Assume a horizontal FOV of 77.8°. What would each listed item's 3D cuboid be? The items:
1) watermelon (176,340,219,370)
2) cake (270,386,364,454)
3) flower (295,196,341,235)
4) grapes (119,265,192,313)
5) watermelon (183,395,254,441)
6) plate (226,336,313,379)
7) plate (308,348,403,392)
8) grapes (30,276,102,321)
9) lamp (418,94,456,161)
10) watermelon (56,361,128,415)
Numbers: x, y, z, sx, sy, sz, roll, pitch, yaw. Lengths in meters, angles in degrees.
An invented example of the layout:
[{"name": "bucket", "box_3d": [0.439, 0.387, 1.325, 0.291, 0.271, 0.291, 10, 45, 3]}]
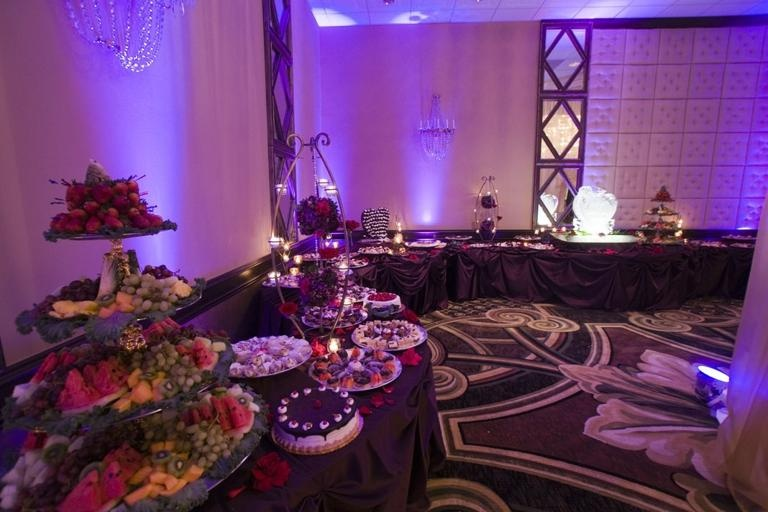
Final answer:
[{"name": "watermelon", "box_3d": [-0.984, 0.526, 2.548, 0.157, 0.067, 0.156, 40, 19, 23]}, {"name": "cake", "box_3d": [-0.383, 0.958, 2.778, 0.535, 0.269, 0.296, -1, 13, -4]}, {"name": "flower", "box_3d": [-0.453, -0.306, 3.356, 0.268, 0.244, 0.278, -2, 21, -13]}, {"name": "grapes", "box_3d": [-1.201, 0.192, 2.497, 0.350, 0.180, 0.162, -6, 14, -22]}, {"name": "watermelon", "box_3d": [-0.869, 0.866, 2.570, 0.257, 0.146, 0.236, 26, 15, -4]}, {"name": "plate", "box_3d": [-0.736, 0.658, 3.096, 0.324, 0.060, 0.322, -5, 10, -40]}, {"name": "plate", "box_3d": [-0.180, 0.734, 3.066, 0.595, 0.172, 0.313, -3, 13, -12]}, {"name": "grapes", "box_3d": [-1.620, 0.191, 2.522, 0.180, 0.097, 0.225, 20, -4, -11]}, {"name": "lamp", "box_3d": [0.875, -2.080, 7.734, 0.601, 1.036, 0.194, 0, 13, 4]}, {"name": "watermelon", "box_3d": [-1.483, 0.668, 2.420, 0.325, 0.209, 0.145, -9, 16, -33]}]
